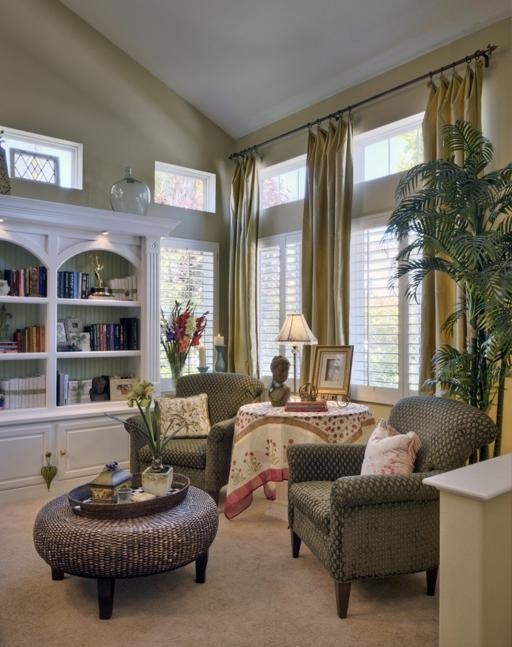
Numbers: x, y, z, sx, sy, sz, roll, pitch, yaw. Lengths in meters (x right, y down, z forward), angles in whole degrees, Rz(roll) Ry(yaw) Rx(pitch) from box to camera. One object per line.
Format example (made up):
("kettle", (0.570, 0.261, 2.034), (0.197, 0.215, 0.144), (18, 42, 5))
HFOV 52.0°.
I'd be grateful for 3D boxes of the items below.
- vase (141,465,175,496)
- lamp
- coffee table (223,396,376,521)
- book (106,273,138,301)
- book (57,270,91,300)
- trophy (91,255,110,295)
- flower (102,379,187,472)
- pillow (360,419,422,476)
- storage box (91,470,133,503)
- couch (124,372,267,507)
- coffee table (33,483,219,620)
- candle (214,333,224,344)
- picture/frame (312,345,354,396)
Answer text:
("vase", (-0.458, 0.723, 2.431), (0.122, 0.121, 0.125), (1, -6, 1))
("lamp", (0.298, 0.209, 3.819), (0.268, 0.606, 1.073), (0, -3, 6))
("coffee table", (0.337, 0.975, 3.485), (1.103, 0.840, 1.062), (4, -5, 10))
("book", (-1.109, -0.281, 4.477), (0.257, 0.272, 0.196), (-5, -12, 22))
("book", (-1.412, -0.286, 4.141), (0.194, 0.260, 0.262), (-1, -2, 37))
("trophy", (-1.295, -0.371, 4.336), (0.106, 0.314, 0.101), (3, -12, -27))
("flower", (-0.473, 0.486, 2.501), (0.322, 0.438, 0.266), (0, -8, -24))
("pillow", (0.609, 0.613, 2.419), (0.172, 0.311, 0.332), (10, -8, -12))
("storage box", (-0.649, 0.700, 2.347), (0.120, 0.117, 0.157), (2, 0, 15))
("couch", (-0.543, 0.698, 3.667), (0.861, 1.015, 0.887), (-3, -9, 23))
("coffee table", (-0.540, 0.991, 2.344), (0.737, 0.356, 0.749), (-10, -8, 34))
("candle", (-0.322, 0.139, 4.557), (0.083, 0.152, 0.086), (1, -3, 2))
("picture/frame", (0.498, 0.311, 3.453), (0.359, 0.466, 0.035), (-4, -23, 33))
